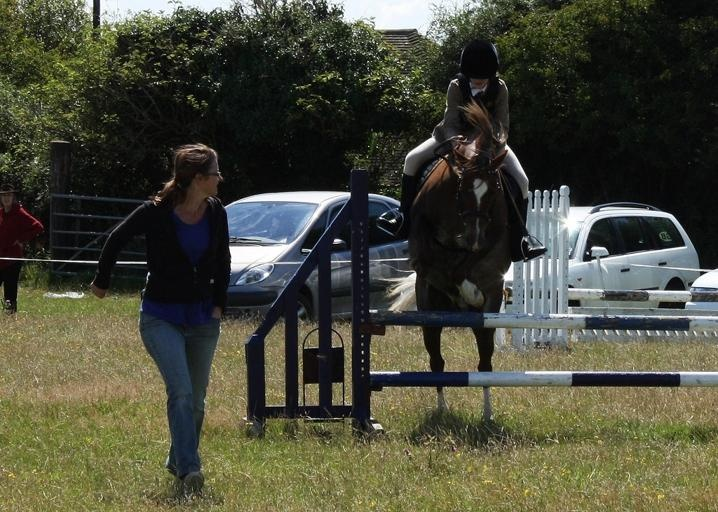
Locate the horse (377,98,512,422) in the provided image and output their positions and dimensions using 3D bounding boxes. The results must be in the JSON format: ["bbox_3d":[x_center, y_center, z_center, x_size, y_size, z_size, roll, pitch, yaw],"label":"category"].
[{"bbox_3d":[1.317,-0.134,16.448,1.314,3.355,5.908,-3,-2,-5],"label":"horse"}]
